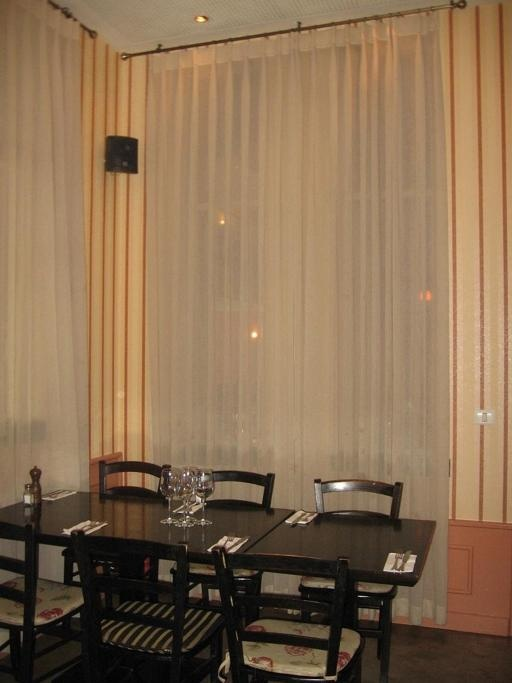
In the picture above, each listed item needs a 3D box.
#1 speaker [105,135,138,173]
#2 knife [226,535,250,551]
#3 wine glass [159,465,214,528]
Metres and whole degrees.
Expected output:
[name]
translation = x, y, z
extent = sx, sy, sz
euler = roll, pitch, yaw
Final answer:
[speaker]
translation = -0.787, -1.089, 3.925
extent = 0.189, 0.195, 0.100
euler = -4, 10, -33
[knife]
translation = -0.065, 0.711, 2.371
extent = 0.055, 0.028, 0.128
euler = 0, 4, 6
[wine glass]
translation = -0.272, 0.614, 2.730
extent = 0.236, 0.288, 0.219
euler = 0, -9, 4
